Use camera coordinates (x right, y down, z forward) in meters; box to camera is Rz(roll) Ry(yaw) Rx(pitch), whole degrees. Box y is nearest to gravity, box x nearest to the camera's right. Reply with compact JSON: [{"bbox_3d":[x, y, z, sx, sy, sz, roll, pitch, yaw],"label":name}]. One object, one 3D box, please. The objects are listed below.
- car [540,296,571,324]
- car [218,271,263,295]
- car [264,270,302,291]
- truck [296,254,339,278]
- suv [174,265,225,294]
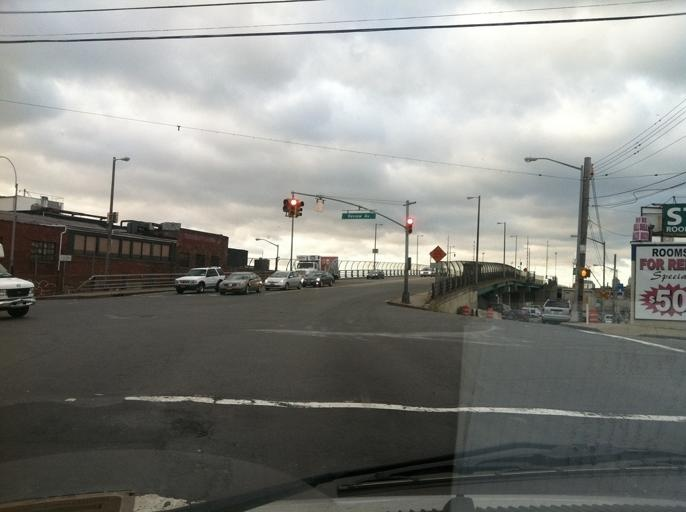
[{"bbox_3d":[11.024,2.870,37.334,0.898,0.802,1.979,1,6,18],"label":"car"},{"bbox_3d":[-6.079,1.695,42.559,1.880,1.276,3.466,1,7,5],"label":"car"},{"bbox_3d":[-3.917,1.595,48.639,1.339,0.899,2.656,-3,-7,19],"label":"car"},{"bbox_3d":[-1.919,0.930,61.810,1.930,2.382,5.514,1,2,28],"label":"truck"},{"bbox_3d":[-8.855,1.398,44.376,1.561,1.451,3.429,-3,-6,17],"label":"suv"}]
